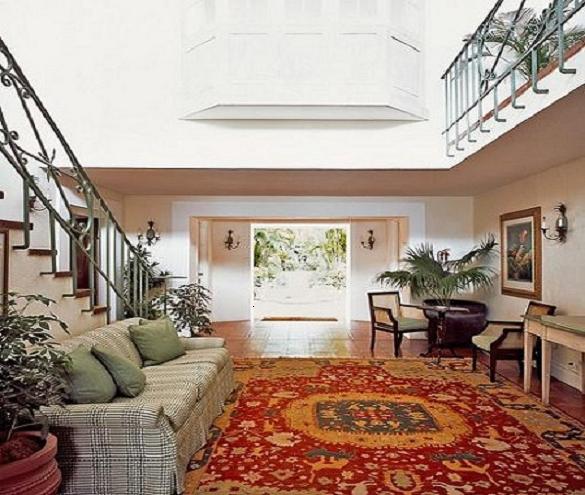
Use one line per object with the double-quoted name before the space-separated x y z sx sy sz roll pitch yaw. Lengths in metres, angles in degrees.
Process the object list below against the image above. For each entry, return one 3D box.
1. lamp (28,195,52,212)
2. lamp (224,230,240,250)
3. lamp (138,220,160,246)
"lamp" -2.536 -0.415 4.376 0.125 0.158 0.249 -1 1 -18
"lamp" -1.383 -0.154 9.884 0.451 0.451 0.213 2 -14 -16
"lamp" -2.492 -0.240 7.666 0.422 0.542 0.410 -1 5 -43
